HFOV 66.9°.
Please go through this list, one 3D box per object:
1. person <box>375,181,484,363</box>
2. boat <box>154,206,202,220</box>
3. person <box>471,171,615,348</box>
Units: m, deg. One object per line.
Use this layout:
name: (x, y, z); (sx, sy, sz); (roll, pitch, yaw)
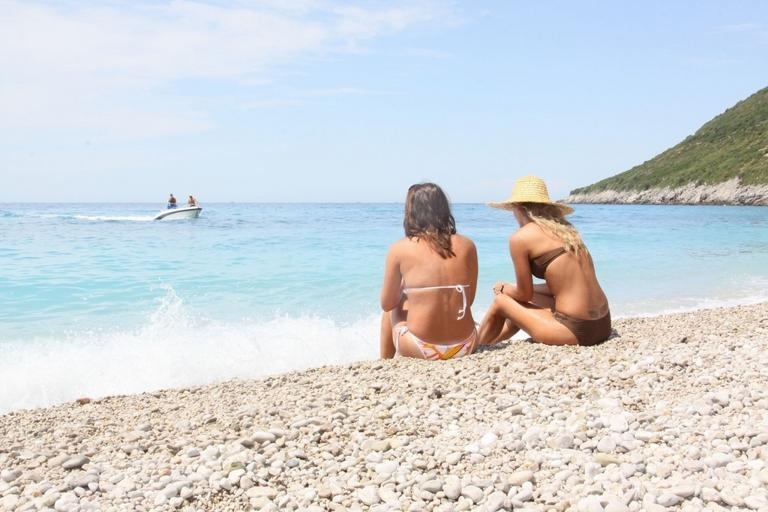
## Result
person: (0.443, 0.177, 6.440); (1.163, 1.975, 0.569); (-7, 6, 3)
boat: (-13.422, -2.820, 38.327); (3.240, 0.595, 2.039); (-3, 5, 37)
person: (1.806, 0.174, 6.704); (1.331, 1.741, 0.567); (-5, 6, 20)
